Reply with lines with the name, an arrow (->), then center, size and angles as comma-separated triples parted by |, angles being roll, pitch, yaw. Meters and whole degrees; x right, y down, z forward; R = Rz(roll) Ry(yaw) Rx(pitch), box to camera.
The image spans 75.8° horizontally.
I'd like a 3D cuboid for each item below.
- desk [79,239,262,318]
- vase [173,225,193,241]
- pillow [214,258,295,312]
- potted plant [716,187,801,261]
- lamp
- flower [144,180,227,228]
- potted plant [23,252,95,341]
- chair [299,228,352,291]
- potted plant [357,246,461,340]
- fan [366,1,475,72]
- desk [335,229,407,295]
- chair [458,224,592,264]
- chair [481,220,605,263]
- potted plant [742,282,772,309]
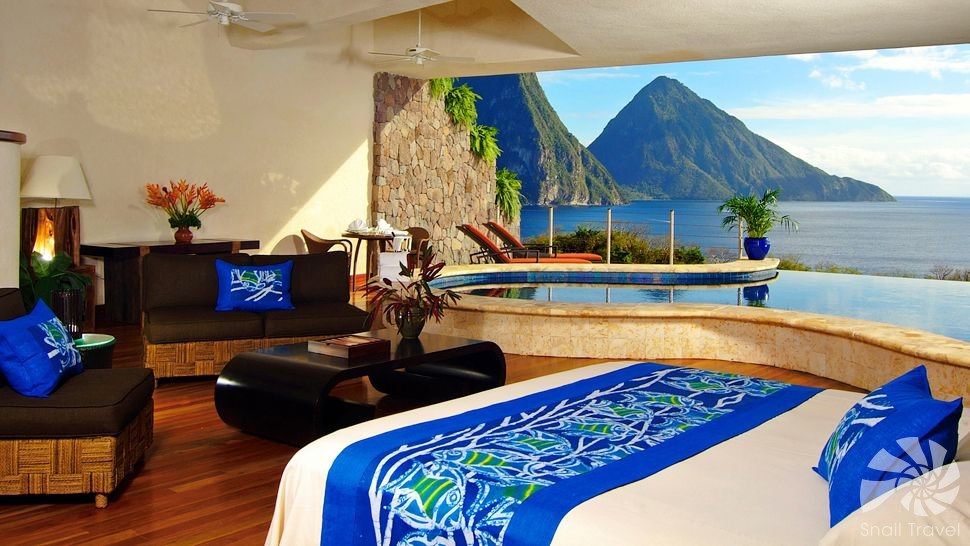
desk -> -4.374, 0.047, 8.864 | 0.729, 0.966, 2.180 | 8, 9, 33
vase -> -4.226, -0.553, 8.702 | 0.235, 0.177, 0.237 | -1, 1, 39
pillow -> -2.441, 0.146, 6.487 | 0.597, 0.369, 0.191 | -3, -34, -21
potted plant -> 5.483, -0.887, 12.498 | 1.552, 1.222, 1.271 | 0, -2, 9
lamp -> -5.261, -0.764, 7.629 | 0.696, 1.344, 1.079 | -5, 6, -35
flower -> -4.363, -0.866, 8.895 | 0.942, 0.553, 0.919 | 0, -14, -33
potted plant -> -4.395, 0.267, 6.237 | 0.645, 0.658, 0.683 | -3, -4, -1
chair -> -2.586, -0.200, 10.212 | 0.895, 0.983, 0.857 | -6, 3, -28
potted plant -> -0.751, 0.254, 5.607 | 0.963, 0.644, 0.762 | 15, 14, 25
fan -> -0.885, -3.473, 9.027 | 0.813, 0.741, 0.852 | 8, 26, 0
desk -> -1.968, -0.225, 10.633 | 1.299, 0.982, 1.137 | 0, 3, -17
chair -> 0.716, -0.438, 11.998 | 1.792, 0.626, 1.252 | -1, 3, -2
chair -> 1.071, -0.542, 12.227 | 2.448, 0.840, 0.973 | -1, 3, 1
potted plant -> 4.158, 0.354, 9.521 | 0.545, 0.348, 0.520 | 1, 2, 14
